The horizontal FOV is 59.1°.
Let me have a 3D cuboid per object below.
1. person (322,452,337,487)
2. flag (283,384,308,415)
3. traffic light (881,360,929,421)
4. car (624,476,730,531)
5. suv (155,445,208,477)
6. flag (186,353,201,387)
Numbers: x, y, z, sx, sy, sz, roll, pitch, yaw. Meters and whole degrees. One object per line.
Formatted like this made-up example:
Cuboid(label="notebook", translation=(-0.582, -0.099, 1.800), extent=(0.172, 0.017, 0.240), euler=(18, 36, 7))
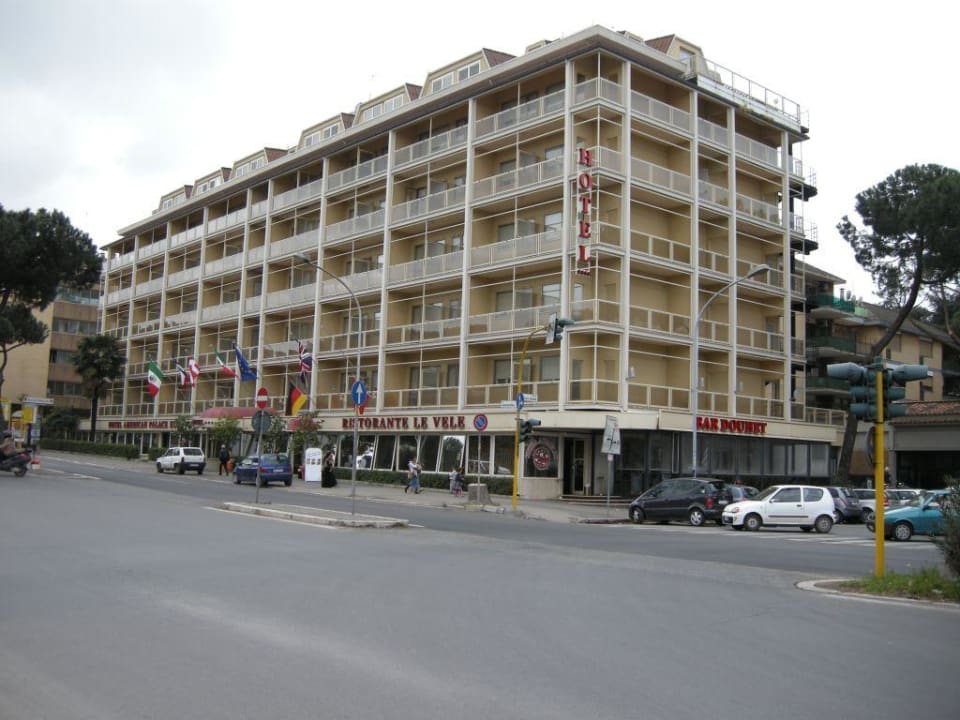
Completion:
Cuboid(label="person", translation=(-7.836, 5.691, 43.729), extent=(0.671, 1.638, 1.539), euler=(3, -5, -10))
Cuboid(label="flag", translation=(-11.522, 2.491, 52.903), extent=(1.591, 1.719, 0.213), euler=(20, -8, 17))
Cuboid(label="traffic light", translation=(7.379, 0.521, 14.758), extent=(0.490, 0.908, 1.027), euler=(2, -5, 4))
Cuboid(label="car", translation=(7.595, 5.392, 31.962), extent=(2.735, 1.283, 1.790), euler=(-3, -8, 37))
Cuboid(label="suv", translation=(-18.343, 6.133, 51.859), extent=(2.413, 1.569, 2.519), euler=(5, -6, -25))
Cuboid(label="flag", translation=(-20.504, 0.684, 60.299), extent=(0.654, 2.328, 5.646), euler=(4, -5, -17))
